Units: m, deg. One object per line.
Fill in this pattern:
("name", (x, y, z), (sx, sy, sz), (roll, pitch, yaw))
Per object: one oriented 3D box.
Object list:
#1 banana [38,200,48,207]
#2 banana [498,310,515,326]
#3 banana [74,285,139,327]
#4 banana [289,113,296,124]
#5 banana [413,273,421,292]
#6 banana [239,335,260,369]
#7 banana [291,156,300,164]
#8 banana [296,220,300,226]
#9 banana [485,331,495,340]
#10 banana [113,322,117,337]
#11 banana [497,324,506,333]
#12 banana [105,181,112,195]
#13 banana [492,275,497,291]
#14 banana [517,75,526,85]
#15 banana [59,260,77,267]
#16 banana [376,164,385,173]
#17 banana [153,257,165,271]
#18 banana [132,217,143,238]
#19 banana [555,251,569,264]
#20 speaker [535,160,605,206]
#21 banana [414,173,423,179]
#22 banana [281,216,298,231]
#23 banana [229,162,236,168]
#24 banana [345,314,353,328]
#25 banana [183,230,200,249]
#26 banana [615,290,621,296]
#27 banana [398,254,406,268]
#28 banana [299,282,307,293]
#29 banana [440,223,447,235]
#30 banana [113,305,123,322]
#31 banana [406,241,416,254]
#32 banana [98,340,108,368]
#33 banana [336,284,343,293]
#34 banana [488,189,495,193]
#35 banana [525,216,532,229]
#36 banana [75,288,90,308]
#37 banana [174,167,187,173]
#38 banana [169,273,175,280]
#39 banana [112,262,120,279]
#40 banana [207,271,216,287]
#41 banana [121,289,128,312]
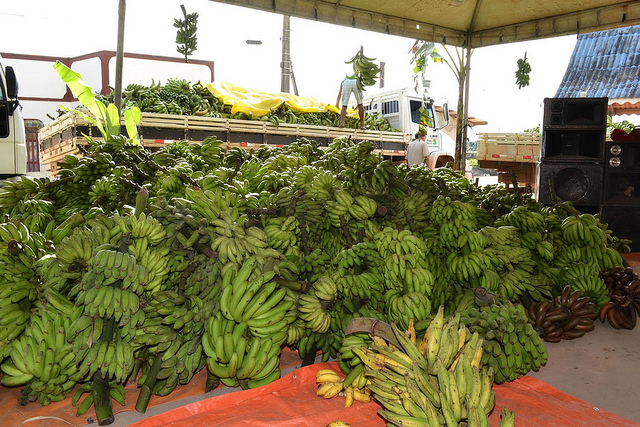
("banana", (-2.053, -0.073, 3.487), (0.072, 0.045, 0.049), (7, 14, 19))
("banana", (1.250, 0.682, 3.114), (0.105, 0.064, 0.053), (10, 15, 29))
("banana", (-1.212, 0.524, 2.682), (0.334, 0.235, 0.113), (0, 13, -12))
("banana", (-0.601, -2.248, 11.187), (0.063, 0.253, 0.199), (-7, 1, 30))
("banana", (0.657, 0.460, 3.135), (0.040, 0.125, 0.030), (-7, -8, -2))
("banana", (-0.418, 0.839, 2.844), (0.039, 0.199, 0.067), (30, -11, -11))
("banana", (-0.190, -0.456, 3.997), (0.074, 0.012, 0.017), (49, 33, 14))
("banana", (-0.152, 0.068, 3.361), (0.012, 0.044, 0.034), (1, 0, 35))
("banana", (1.112, 0.785, 3.039), (0.066, 0.050, 0.030), (1, 13, -7))
("banana", (-1.222, 0.690, 2.817), (0.024, 0.087, 0.038), (-5, 15, -30))
("banana", (1.196, 0.742, 3.062), (0.050, 0.039, 0.042), (7, 14, 19))
("banana", (-1.577, -0.196, 3.527), (0.049, 0.090, 0.026), (-7, 15, -36))
("banana", (1.287, 0.504, 3.422), (0.020, 0.097, 0.049), (9, 14, 29))
("banana", (4.261, -2.782, 9.806), (0.117, 0.165, 0.030), (11, 15, 32))
("banana", (-1.535, 0.305, 2.872), (0.127, 0.025, 0.030), (11, 16, 32))
("banana", (0.480, -0.342, 3.640), (0.037, 0.063, 0.020), (-43, -2, -19))
("banana", (-0.967, 0.298, 2.851), (0.025, 0.096, 0.029), (36, -15, -21))
("banana", (-1.085, 0.079, 2.843), (0.033, 0.129, 0.043), (22, -5, -16))
("banana", (2.203, 0.392, 4.239), (0.106, 0.027, 0.041), (42, 54, 14))
("speaker", (4.299, -0.488, 8.059), (1.042, 0.769, 0.367), (10, 15, 28))
("banana", (0.814, -0.305, 3.831), (0.078, 0.021, 0.013), (-31, -14, -43))
("banana", (-0.215, 0.072, 3.324), (0.037, 0.077, 0.120), (14, 17, 42))
("banana", (-0.742, -0.417, 4.051), (0.052, 0.045, 0.068), (0, 13, -13))
("banana", (0.207, 0.739, 3.281), (0.028, 0.112, 0.023), (21, 3, -33))
("banana", (-0.773, 0.156, 2.882), (0.046, 0.149, 0.048), (33, -5, 7))
("banana", (2.869, 0.747, 4.487), (0.055, 0.058, 0.016), (-5, -6, 37))
("banana", (0.561, 0.313, 3.144), (0.047, 0.070, 0.047), (7, 14, 22))
("banana", (-0.100, 0.480, 3.043), (0.047, 0.073, 0.040), (2, 13, -2))
("banana", (0.904, 0.109, 3.422), (0.040, 0.083, 0.036), (8, 14, 26))
("banana", (-1.139, 0.560, 2.665), (0.031, 0.092, 0.029), (10, 5, -13))
("banana", (0.630, 0.227, 3.187), (0.064, 0.075, 0.024), (12, 16, 35))
("banana", (-1.242, 0.804, 2.728), (0.034, 0.132, 0.042), (12, -26, -14))
("banana", (0.144, 0.502, 3.192), (0.030, 0.053, 0.017), (-30, -7, 32))
("banana", (1.689, -0.213, 4.581), (0.057, 0.028, 0.127), (8, 14, 21))
("banana", (1.770, 0.071, 3.943), (0.021, 0.126, 0.032), (-9, 6, -1))
("banana", (-1.352, 0.477, 2.694), (0.033, 0.124, 0.044), (33, 10, -44))
("banana", (-1.021, -0.322, 3.508), (0.072, 0.035, 0.042), (-2, 14, -18))
("banana", (-0.933, 0.394, 2.985), (0.033, 0.047, 0.013), (3, -3, -13))
("banana", (-1.149, 0.329, 2.657), (0.032, 0.062, 0.019), (4, 1, -21))
("banana", (-0.668, 0.401, 2.933), (0.044, 0.084, 0.026), (9, -2, 6))
("banana", (-1.105, 0.495, 2.701), (0.032, 0.128, 0.041), (-2, -23, -1))
